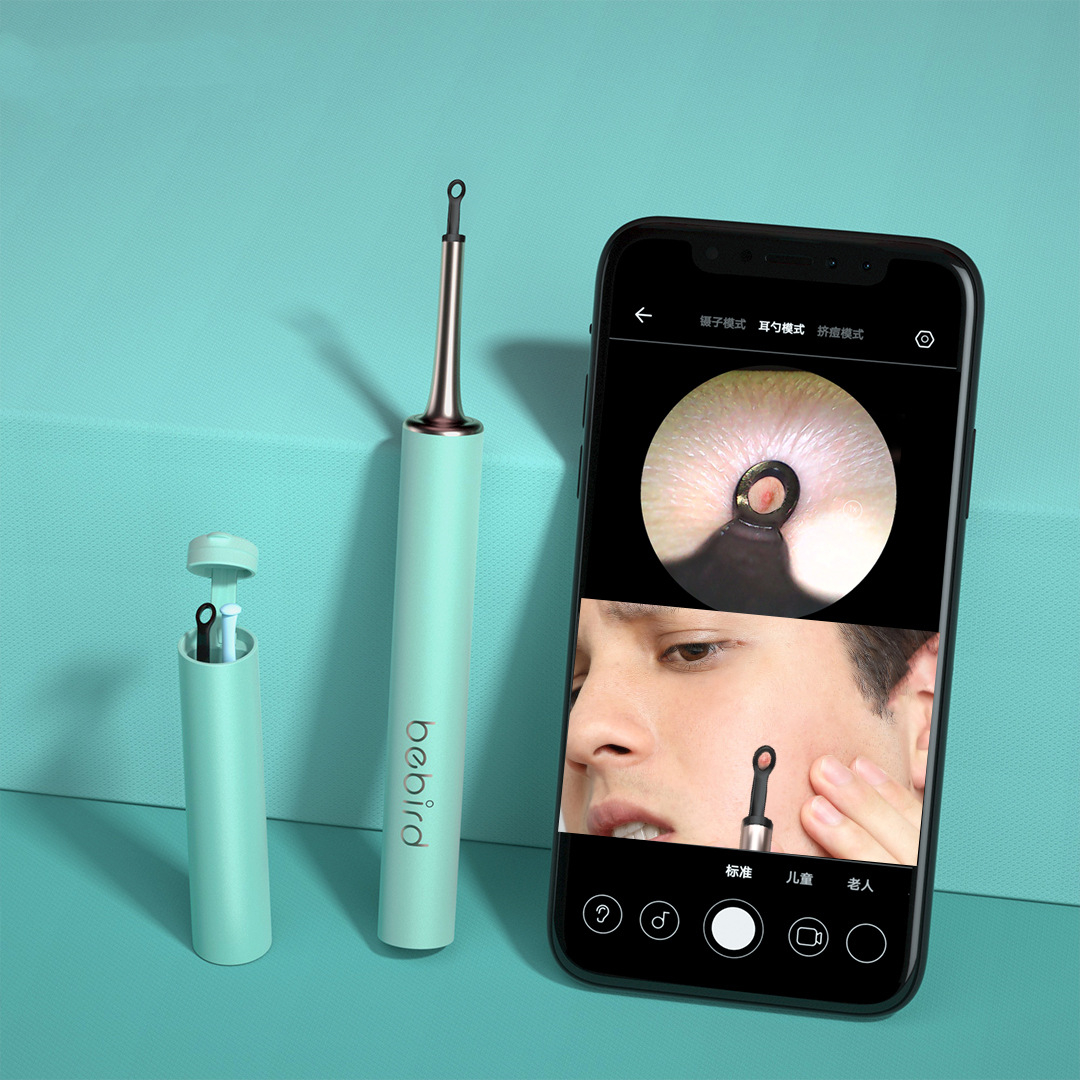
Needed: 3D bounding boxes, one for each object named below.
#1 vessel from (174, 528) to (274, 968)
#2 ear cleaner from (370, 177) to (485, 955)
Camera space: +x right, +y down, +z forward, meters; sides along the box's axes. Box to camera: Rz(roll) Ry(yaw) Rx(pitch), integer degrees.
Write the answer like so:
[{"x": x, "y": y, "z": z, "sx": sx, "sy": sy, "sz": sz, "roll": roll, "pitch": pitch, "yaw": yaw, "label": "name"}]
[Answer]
[{"x": -0.119, "y": 0.094, "z": 0.469, "sx": 0.042, "sy": 0.148, "sz": 0.028, "roll": 7, "pitch": 13, "yaw": -2, "label": "vessel"}, {"x": -0.047, "y": 0.011, "z": 0.495, "sx": 0.043, "sy": 0.306, "sz": 0.041, "roll": 2, "pitch": -3, "yaw": 31, "label": "ear cleaner"}]
